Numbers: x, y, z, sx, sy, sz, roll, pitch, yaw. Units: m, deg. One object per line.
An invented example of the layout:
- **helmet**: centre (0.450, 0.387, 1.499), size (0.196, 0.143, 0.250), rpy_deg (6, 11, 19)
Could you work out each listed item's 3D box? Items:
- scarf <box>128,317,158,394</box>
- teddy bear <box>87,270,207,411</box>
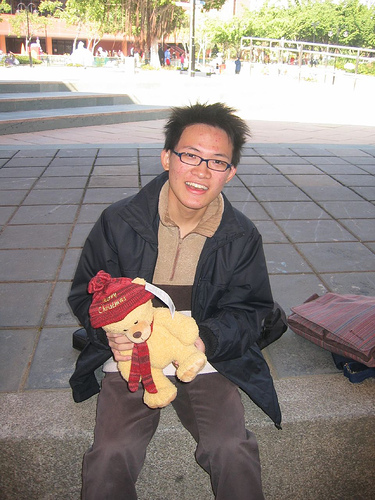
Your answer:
- **scarf**: centre (-0.157, 0.371, 1.359), size (0.099, 0.222, 0.017), rpy_deg (-3, -2, 12)
- **teddy bear**: centre (-0.150, 0.283, 1.377), size (0.353, 0.416, 0.296), rpy_deg (18, 45, 40)
